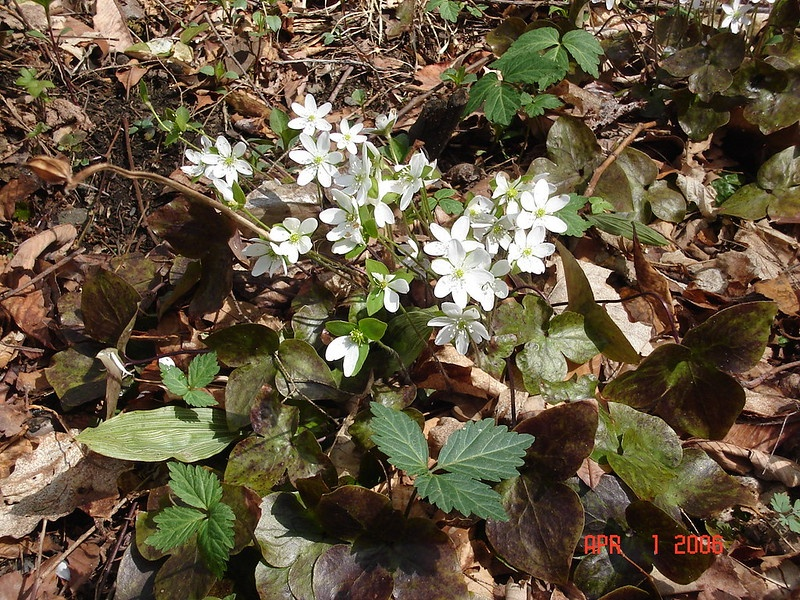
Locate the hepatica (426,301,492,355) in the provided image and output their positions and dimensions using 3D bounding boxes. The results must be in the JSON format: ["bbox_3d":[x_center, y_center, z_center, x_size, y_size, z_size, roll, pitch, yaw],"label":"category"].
[{"bbox_3d":[0.229,0.110,2.597,0.216,0.271,0.191,-6,44,3],"label":"hepatica"}]

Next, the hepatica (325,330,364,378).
[{"bbox_3d":[-0.212,0.245,2.596,0.122,0.192,0.164,6,46,15],"label":"hepatica"}]
